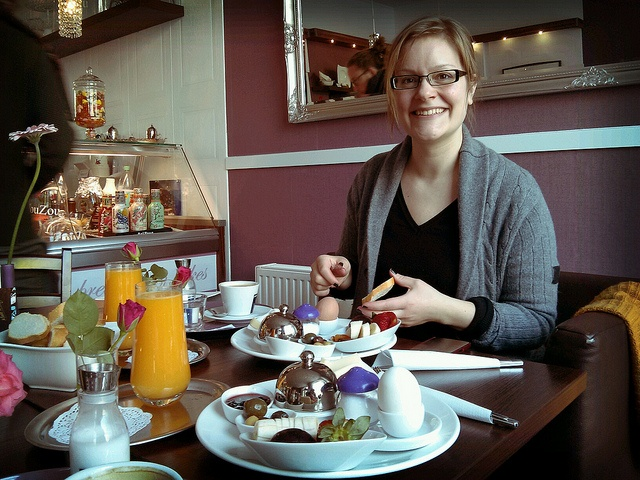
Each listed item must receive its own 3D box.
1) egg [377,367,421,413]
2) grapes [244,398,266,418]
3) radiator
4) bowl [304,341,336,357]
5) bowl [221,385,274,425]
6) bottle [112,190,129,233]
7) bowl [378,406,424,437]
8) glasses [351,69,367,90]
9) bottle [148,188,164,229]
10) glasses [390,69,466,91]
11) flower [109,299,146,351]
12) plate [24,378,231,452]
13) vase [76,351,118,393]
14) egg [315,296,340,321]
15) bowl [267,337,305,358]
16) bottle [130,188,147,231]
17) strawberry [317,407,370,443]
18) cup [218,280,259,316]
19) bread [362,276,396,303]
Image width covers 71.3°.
[{"bbox_3d":[0.109,0.210,0.629,0.056,0.063,0.054,-1,-6,-30],"label":"egg"},{"bbox_3d":[-0.093,0.241,0.644,0.025,0.013,0.025,30,43,34],"label":"grapes"},{"bbox_3d":[-0.171,0.240,2.373,0.342,0.314,0.125,4,12,32],"label":"radiator"},{"bbox_3d":[-0.003,0.209,0.866,0.055,0.020,0.055,0,-9,0],"label":"bowl"},{"bbox_3d":[-0.123,0.250,0.694,0.051,0.019,0.048,1,18,0],"label":"bowl"},{"bbox_3d":[-1.148,-0.161,2.557,0.093,0.239,0.095,-2,5,0],"label":"bottle"},{"bbox_3d":[0.112,0.248,0.610,0.046,0.027,0.046,-1,-9,0],"label":"bowl"},{"bbox_3d":[0.198,-0.875,2.402,0.107,0.062,0.081,33,15,-19],"label":"glasses"},{"bbox_3d":[-1.018,-0.193,2.734,0.093,0.245,0.080,-5,6,-31],"label":"bottle"},{"bbox_3d":[0.337,-0.502,1.401,0.229,0.055,0.059,0,5,11],"label":"glasses"},{"bbox_3d":[-0.249,0.106,0.580,0.030,0.056,0.029,-6,7,-41],"label":"flower"},{"bbox_3d":[-0.277,0.256,0.651,0.151,0.010,0.146,0,2,-16],"label":"plate"},{"bbox_3d":[-0.250,0.153,0.530,0.043,0.048,0.050,0,-6,-2],"label":"vase"},{"bbox_3d":[0.028,0.164,1.123,0.054,0.061,0.053,-9,10,-40],"label":"egg"},{"bbox_3d":[-0.070,0.216,0.899,0.051,0.023,0.052,15,-11,3],"label":"bowl"},{"bbox_3d":[-1.087,-0.186,2.665,0.089,0.262,0.172,-3,5,-13],"label":"bottle"},{"bbox_3d":[0.029,0.236,0.561,0.053,0.015,0.038,-9,9,-40],"label":"strawberry"},{"bbox_3d":[-0.229,0.153,1.215,0.095,0.071,0.098,0,-4,0],"label":"cup"},{"bbox_3d":[0.128,0.130,1.074,0.072,0.035,0.085,-21,-17,-44],"label":"bread"}]
